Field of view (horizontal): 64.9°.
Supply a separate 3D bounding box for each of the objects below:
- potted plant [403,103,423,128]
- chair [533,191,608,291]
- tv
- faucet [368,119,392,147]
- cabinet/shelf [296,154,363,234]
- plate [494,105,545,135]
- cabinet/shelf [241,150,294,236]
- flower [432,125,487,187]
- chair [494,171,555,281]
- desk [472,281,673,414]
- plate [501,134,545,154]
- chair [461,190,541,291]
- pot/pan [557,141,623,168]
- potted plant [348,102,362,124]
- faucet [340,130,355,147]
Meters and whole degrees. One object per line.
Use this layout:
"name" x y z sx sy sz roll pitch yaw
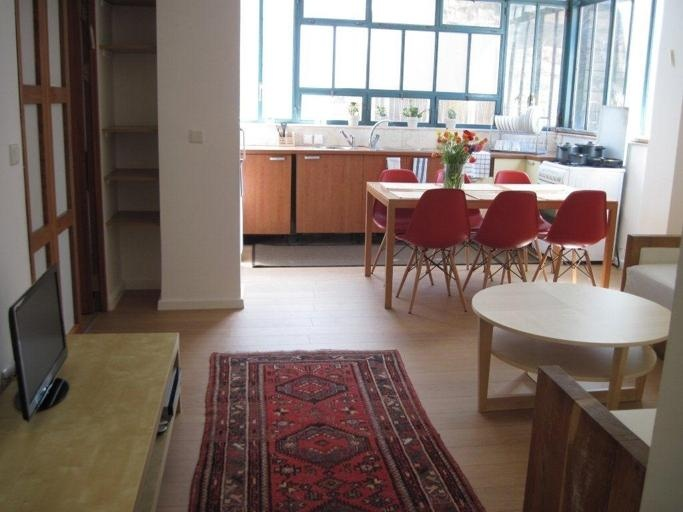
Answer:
"potted plant" 0.918 -1.879 7.174 0.335 0.353 0.304 -3 23 -6
"chair" 2.076 -0.098 4.911 0.586 0.987 0.640 -1 9 -4
"tv" -1.222 0.359 2.159 0.160 0.444 0.464 1 24 -9
"faucet" 0.516 -1.616 7.092 0.177 0.364 0.462 9 16 36
"cabinet/shelf" -0.010 -0.796 6.890 1.079 0.947 1.074 0 4 -1
"plate" 2.308 -1.770 7.066 0.225 0.341 0.699 -6 15 -24
"cabinet/shelf" -0.929 -0.674 6.625 0.700 1.002 0.669 4 -14 -23
"flower" 1.056 -0.878 4.881 0.410 0.508 0.415 3 13 14
"chair" 1.801 -0.463 5.509 0.523 0.692 0.868 7 21 6
"desk" 1.310 0.636 3.191 1.098 0.662 1.115 1 4 14
"plate" 2.368 -1.490 7.096 0.604 0.234 0.209 12 18 41
"chair" 1.429 -0.155 4.876 0.574 0.991 0.680 0 22 -6
"pot/pan" 2.740 -1.108 5.943 0.681 0.235 0.369 5 14 21
"potted plant" 0.168 -1.881 7.084 0.163 0.290 0.227 1 13 4
"faucet" 0.078 -1.543 7.008 0.184 0.213 0.073 2 13 8
